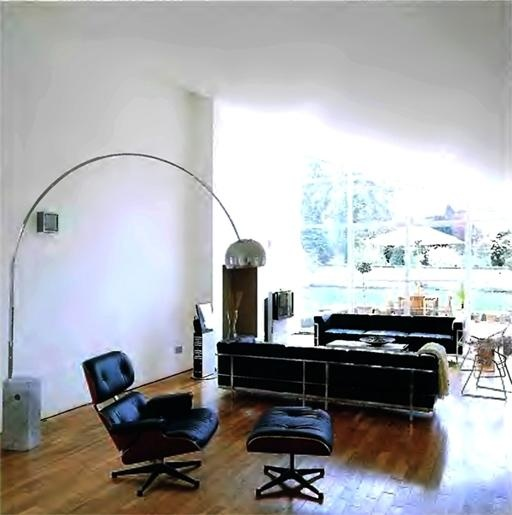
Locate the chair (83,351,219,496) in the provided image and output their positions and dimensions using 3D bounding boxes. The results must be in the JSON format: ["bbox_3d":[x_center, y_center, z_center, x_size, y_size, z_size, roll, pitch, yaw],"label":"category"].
[{"bbox_3d":[-0.794,1.250,4.131,0.933,0.957,0.773,0,1,16],"label":"chair"}]

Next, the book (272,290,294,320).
[{"bbox_3d":[0.494,0.888,9.800,0.078,0.574,0.870,0,1,26],"label":"book"}]

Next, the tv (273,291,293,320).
[{"bbox_3d":[0.502,0.884,9.759,0.384,0.579,0.756,0,-2,17],"label":"tv"}]

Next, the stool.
[{"bbox_3d":[0.271,1.473,4.015,0.606,0.508,0.620,0,1,9],"label":"stool"}]

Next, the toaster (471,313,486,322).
[{"bbox_3d":[4.126,1.114,9.778,0.255,0.135,0.240,0,1,21],"label":"toaster"}]
